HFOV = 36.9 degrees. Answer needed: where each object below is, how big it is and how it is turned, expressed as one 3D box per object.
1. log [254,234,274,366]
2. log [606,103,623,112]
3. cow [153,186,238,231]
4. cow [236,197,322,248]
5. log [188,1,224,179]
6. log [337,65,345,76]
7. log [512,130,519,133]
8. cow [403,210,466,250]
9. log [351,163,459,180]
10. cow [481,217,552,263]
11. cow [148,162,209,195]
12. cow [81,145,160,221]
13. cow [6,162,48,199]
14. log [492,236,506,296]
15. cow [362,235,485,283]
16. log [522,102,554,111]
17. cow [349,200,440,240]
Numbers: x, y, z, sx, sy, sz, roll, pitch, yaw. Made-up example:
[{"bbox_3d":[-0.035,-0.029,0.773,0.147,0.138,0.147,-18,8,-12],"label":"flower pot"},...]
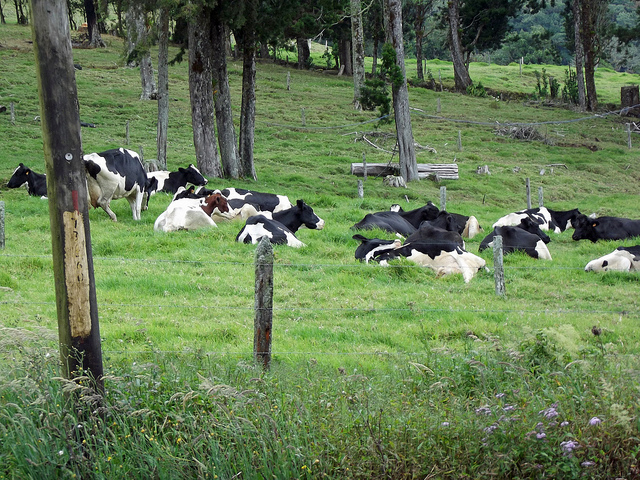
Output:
[{"bbox_3d":[-1.052,1.126,17.857,0.343,2.365,0.413,2,8,-5],"label":"log"},{"bbox_3d":[17.740,-8.077,58.147,0.792,0.360,2.130,6,10,15],"label":"log"},{"bbox_3d":[-3.524,-0.713,25.805,1.560,0.669,1.261,-3,8,19],"label":"cow"},{"bbox_3d":[-1.004,-0.360,25.312,1.772,0.933,1.238,-10,17,-44],"label":"cow"},{"bbox_3d":[-3.843,-4.767,31.303,0.860,5.488,1.404,4,8,10],"label":"log"},{"bbox_3d":[1.420,-11.566,65.384,0.427,0.742,0.851,3,9,2],"label":"log"},{"bbox_3d":[9.585,-5.354,47.174,0.271,0.133,0.178,6,9,15],"label":"log"},{"bbox_3d":[3.116,-0.278,24.990,0.696,1.337,2.463,10,10,15],"label":"cow"},{"bbox_3d":[3.184,-2.639,37.083,4.989,0.944,0.755,0,7,-3],"label":"log"},{"bbox_3d":[5.491,0.124,25.315,2.046,1.116,1.097,2,11,-22],"label":"cow"},{"bbox_3d":[-4.395,-1.939,30.350,1.875,1.095,0.846,0,17,5],"label":"cow"},{"bbox_3d":[-5.552,-1.497,26.737,0.996,2.114,3.501,2,5,22],"label":"cow"},{"bbox_3d":[-8.885,-1.864,29.438,1.525,0.896,0.840,12,12,42],"label":"cow"},{"bbox_3d":[4.055,0.564,21.706,0.361,1.313,0.421,4,8,11],"label":"log"},{"bbox_3d":[2.574,0.426,23.360,2.777,0.791,1.756,5,9,10],"label":"cow"},{"bbox_3d":[13.139,-8.053,57.912,1.704,0.233,2.503,5,10,9],"label":"log"},{"bbox_3d":[2.092,-0.215,26.957,2.700,1.513,0.940,-4,-10,12],"label":"cow"}]
